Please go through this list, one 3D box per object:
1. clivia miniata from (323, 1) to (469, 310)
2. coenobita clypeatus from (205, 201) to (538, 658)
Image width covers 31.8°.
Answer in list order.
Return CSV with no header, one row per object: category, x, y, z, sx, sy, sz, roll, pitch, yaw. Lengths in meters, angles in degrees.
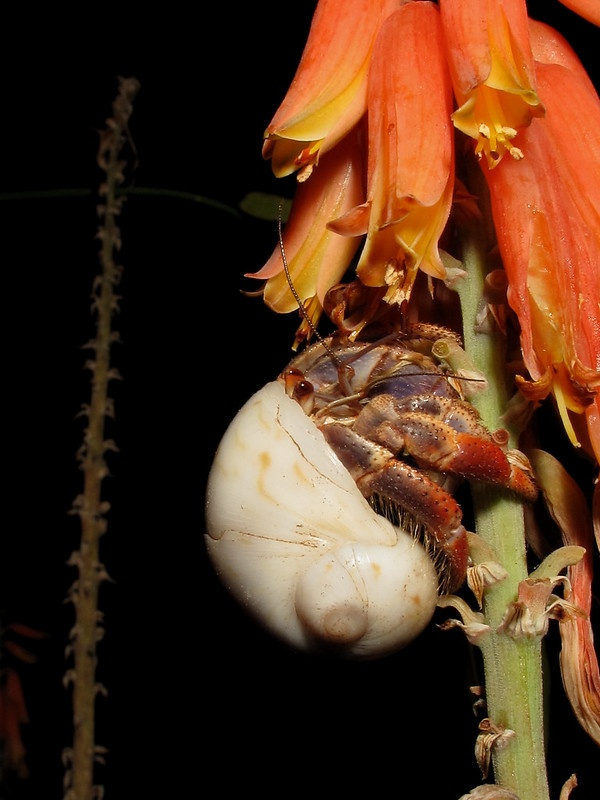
clivia miniata,0.074,-0.184,0.769,0.084,0.225,0.112,7,11,5
coenobita clypeatus,0.091,0.030,0.909,0.323,0.318,0.108,17,-1,16
